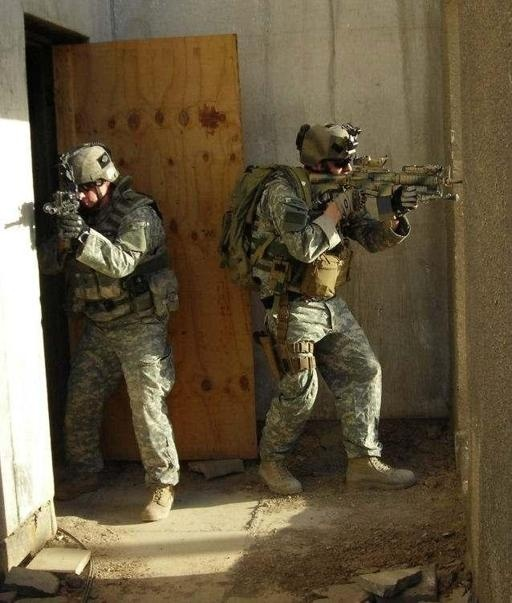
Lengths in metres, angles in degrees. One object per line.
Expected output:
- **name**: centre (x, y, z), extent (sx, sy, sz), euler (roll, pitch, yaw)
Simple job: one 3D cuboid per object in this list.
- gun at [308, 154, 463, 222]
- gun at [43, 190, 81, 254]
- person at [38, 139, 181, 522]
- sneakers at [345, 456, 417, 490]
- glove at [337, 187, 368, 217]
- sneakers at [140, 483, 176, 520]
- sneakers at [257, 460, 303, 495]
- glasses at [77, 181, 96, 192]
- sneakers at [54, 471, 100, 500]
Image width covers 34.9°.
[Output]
- **gun**: centre (0.654, -0.583, 4.222), extent (0.860, 0.319, 0.122), euler (-4, -2, -28)
- **gun**: centre (-0.925, -0.428, 3.960), extent (0.087, 0.250, 0.295), euler (-1, 13, 20)
- **person**: centre (-0.760, 0.165, 4.458), extent (0.813, 2.045, 0.896), euler (-9, 11, -16)
- **sneakers**: centre (0.687, 0.961, 4.629), extent (0.456, 0.175, 0.148), euler (-2, 13, 5)
- **glove**: centre (0.480, -0.511, 4.216), extent (0.141, 0.121, 0.161), euler (-20, 3, -12)
- **sneakers**: centre (-0.530, 1.102, 4.466), extent (0.106, 0.101, 0.257), euler (4, 10, 8)
- **sneakers**: centre (0.139, 1.008, 4.706), extent (0.130, 0.112, 0.287), euler (-11, 13, -38)
- **glasses**: centre (-0.888, -0.610, 4.308), extent (0.058, 0.023, 0.070), euler (-18, -5, 11)
- **sneakers**: centre (-1.044, 1.082, 4.796), extent (0.208, 0.117, 0.056), euler (-9, -25, -35)
